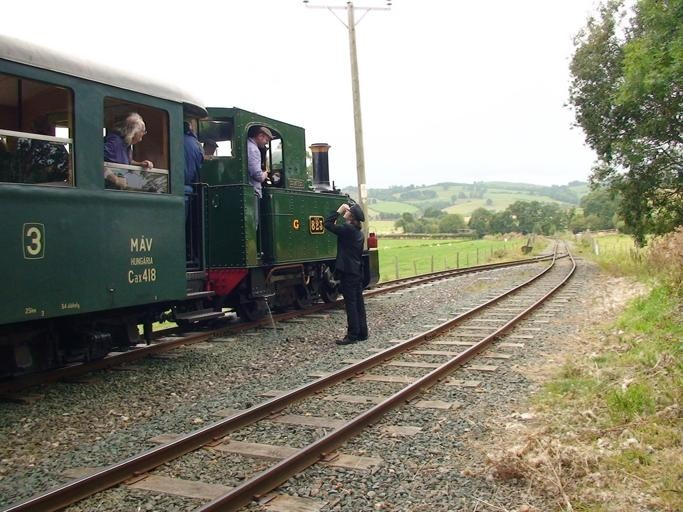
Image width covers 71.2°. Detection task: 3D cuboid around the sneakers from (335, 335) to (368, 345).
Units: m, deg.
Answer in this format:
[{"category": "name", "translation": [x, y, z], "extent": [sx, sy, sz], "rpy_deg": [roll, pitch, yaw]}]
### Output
[{"category": "sneakers", "translation": [0.197, 1.551, 8.899], "extent": [0.571, 0.198, 0.179], "rpy_deg": [3, -6, -14]}]

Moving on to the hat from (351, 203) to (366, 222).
[{"category": "hat", "translation": [0.291, -0.834, 9.072], "extent": [0.135, 0.348, 0.276], "rpy_deg": [-12, -4, 44]}]

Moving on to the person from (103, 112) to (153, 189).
[{"category": "person", "translation": [-3.003, -1.500, 6.677], "extent": [0.321, 0.819, 0.811], "rpy_deg": [-6, 4, 7]}]
